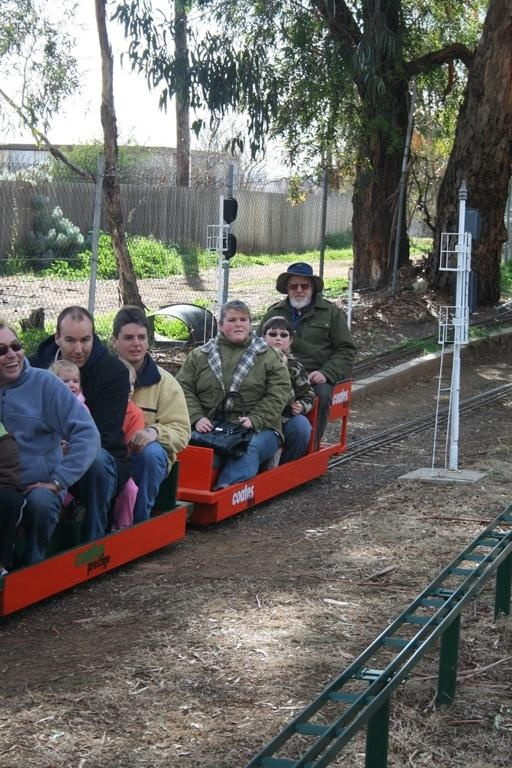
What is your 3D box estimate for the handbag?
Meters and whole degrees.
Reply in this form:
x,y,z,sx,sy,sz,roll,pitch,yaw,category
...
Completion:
x,y,z,sx,sy,sz,roll,pitch,yaw,category
-0.260,0.335,6.247,0.488,0.447,0.201,-3,-29,43,handbag
